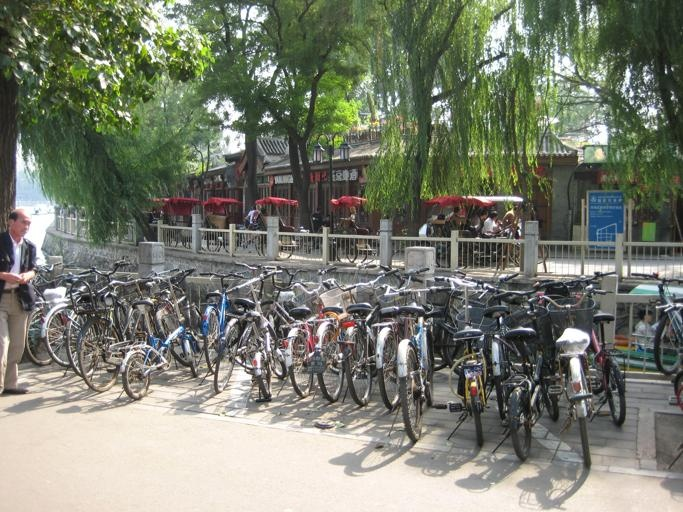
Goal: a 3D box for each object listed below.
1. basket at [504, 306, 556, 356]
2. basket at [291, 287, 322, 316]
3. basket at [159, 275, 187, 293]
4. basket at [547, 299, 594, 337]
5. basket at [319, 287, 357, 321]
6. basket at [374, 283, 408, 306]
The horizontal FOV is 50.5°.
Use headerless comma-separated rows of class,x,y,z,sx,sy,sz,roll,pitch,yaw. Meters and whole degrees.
basket,2.235,0.914,8.452,0.622,0.731,0.554,2,5,3
basket,-0.483,0.709,11.008,0.276,0.358,0.506,-6,-18,10
basket,-2.643,0.475,11.112,0.437,0.200,0.295,3,6,11
basket,2.699,0.770,8.534,0.536,0.480,0.418,4,13,15
basket,-0.098,0.670,10.394,0.420,0.334,0.283,-9,3,-32
basket,0.703,0.573,10.161,0.260,0.135,0.383,1,4,-17
